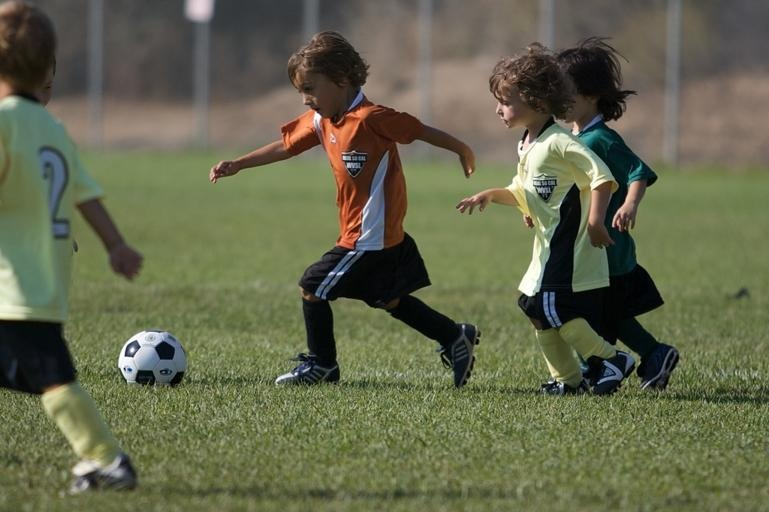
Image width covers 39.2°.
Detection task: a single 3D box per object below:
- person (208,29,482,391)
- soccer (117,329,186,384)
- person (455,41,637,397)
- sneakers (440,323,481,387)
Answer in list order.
[{"bbox_3d":[-0.189,-0.344,7.407,1.211,2.326,0.653,-1,12,-8],"label":"person"},{"bbox_3d":[-1.535,0.663,7.379,0.378,0.351,0.382,20,18,6],"label":"soccer"},{"bbox_3d":[1.148,-0.230,7.162,1.006,2.277,0.509,8,14,32],"label":"person"},{"bbox_3d":[0.534,0.678,7.401,0.270,0.526,0.176,2,9,-6],"label":"sneakers"}]
